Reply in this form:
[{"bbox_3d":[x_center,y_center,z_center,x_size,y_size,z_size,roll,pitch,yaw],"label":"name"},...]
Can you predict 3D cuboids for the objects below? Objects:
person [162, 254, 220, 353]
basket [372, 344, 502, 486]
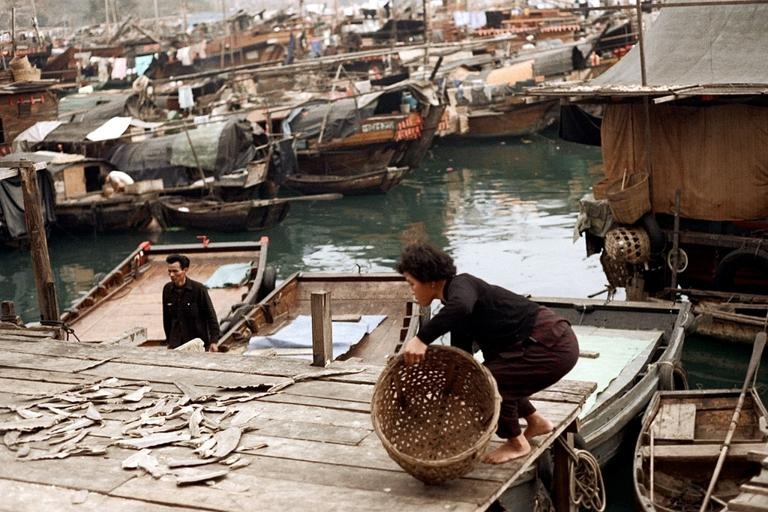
[{"bbox_3d":[-3.249,0.820,15.372,0.916,1.655,0.566,-4,16,-3],"label":"person"},{"bbox_3d":[0.584,2.028,11.523,0.921,1.666,1.939,-43,-11,19],"label":"basket"}]
